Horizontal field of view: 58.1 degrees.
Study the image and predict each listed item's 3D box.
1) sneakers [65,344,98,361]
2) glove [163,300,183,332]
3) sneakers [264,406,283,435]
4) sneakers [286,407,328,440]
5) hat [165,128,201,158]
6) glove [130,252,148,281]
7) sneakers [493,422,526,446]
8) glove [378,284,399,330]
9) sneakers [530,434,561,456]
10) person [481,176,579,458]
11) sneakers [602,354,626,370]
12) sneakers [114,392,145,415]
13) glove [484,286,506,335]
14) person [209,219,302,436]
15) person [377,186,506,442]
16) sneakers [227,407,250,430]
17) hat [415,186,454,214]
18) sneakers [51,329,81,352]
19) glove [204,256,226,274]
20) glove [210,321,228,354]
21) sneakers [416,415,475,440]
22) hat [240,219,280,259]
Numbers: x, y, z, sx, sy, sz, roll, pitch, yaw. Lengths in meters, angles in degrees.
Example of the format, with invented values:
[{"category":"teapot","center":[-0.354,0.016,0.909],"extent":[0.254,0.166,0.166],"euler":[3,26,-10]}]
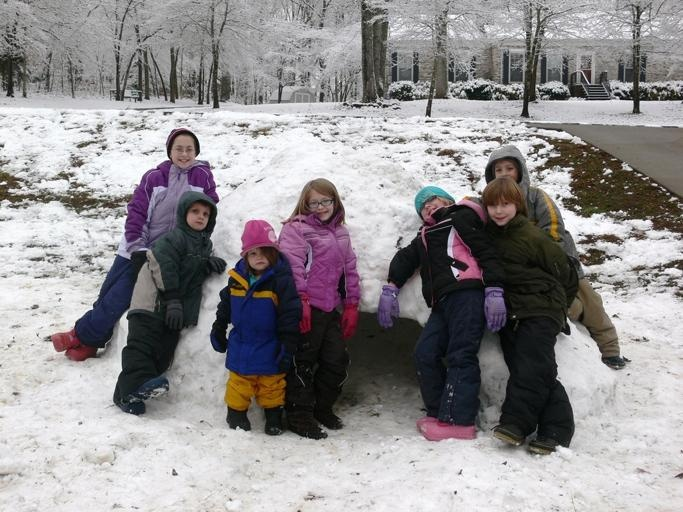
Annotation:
[{"category":"sneakers","center":[-2.407,0.890,5.654],"extent":[0.142,0.071,0.100],"euler":[-11,47,-30]},{"category":"glove","center":[-1.408,0.497,5.139],"extent":[0.181,0.222,0.096],"euler":[1,-6,1]},{"category":"sneakers","center":[-0.546,1.333,4.969],"extent":[0.143,0.199,0.150],"euler":[0,9,-13]},{"category":"sneakers","center":[-0.284,1.352,4.996],"extent":[0.351,0.194,0.189],"euler":[10,11,42]},{"category":"hat","center":[-1.552,-1.137,5.988],"extent":[0.318,0.271,0.305],"euler":[-1,20,-12]},{"category":"glove","center":[-1.797,0.072,5.442],"extent":[0.162,0.202,0.081],"euler":[-3,-3,20]},{"category":"sneakers","center":[1.247,1.343,4.651],"extent":[0.255,0.112,0.129],"euler":[31,-17,-26]},{"category":"glove","center":[0.408,0.369,5.321],"extent":[0.180,0.121,0.287],"euler":[4,41,5]},{"category":"sneakers","center":[1.504,1.419,4.609],"extent":[0.236,0.112,0.095],"euler":[8,-33,14]},{"category":"person","center":[1.471,0.409,4.907],"extent":[0.810,2.030,0.970],"euler":[4,9,12]},{"category":"sneakers","center":[2.544,0.993,5.769],"extent":[0.268,0.118,0.115],"euler":[3,9,23]},{"category":"sneakers","center":[-1.727,1.223,5.002],"extent":[0.246,0.147,0.160],"euler":[0,9,-16]},{"category":"glove","center":[1.242,0.433,4.971],"extent":[0.182,0.360,0.154],"euler":[3,9,5]},{"category":"person","center":[-0.701,0.569,4.994],"extent":[0.719,1.687,0.466],"euler":[1,9,-10]},{"category":"person","center":[0.859,0.478,5.165],"extent":[0.990,2.267,1.029],"euler":[19,-35,-18]},{"category":"sneakers","center":[-0.836,1.320,4.962],"extent":[0.207,0.170,0.178],"euler":[1,9,-6]},{"category":"hat","center":[0.842,-0.528,5.686],"extent":[0.328,0.235,0.236],"euler":[1,31,-18]},{"category":"sneakers","center":[-2.535,0.791,5.663],"extent":[0.231,0.238,0.144],"euler":[-1,9,-19]},{"category":"glove","center":[-1.119,0.079,5.500],"extent":[0.256,0.148,0.153],"euler":[-2,3,0]},{"category":"glove","center":[-0.999,0.678,5.115],"extent":[0.181,0.234,0.088],"euler":[-5,-2,23]},{"category":"sneakers","center":[0.824,1.364,4.860],"extent":[0.337,0.137,0.185],"euler":[4,-2,2]},{"category":"hat","center":[-0.673,-0.167,5.155],"extent":[0.403,0.295,0.516],"euler":[-6,5,6]}]
